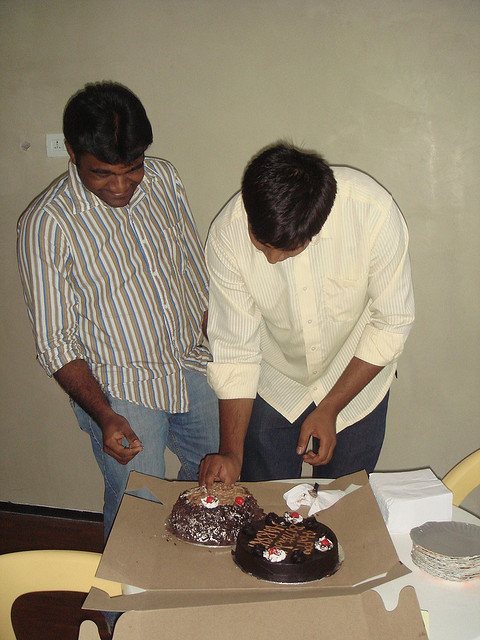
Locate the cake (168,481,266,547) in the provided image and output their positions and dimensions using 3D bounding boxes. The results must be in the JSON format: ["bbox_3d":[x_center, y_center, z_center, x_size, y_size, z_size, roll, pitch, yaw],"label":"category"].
[{"bbox_3d":[-0.069,0.476,1.777,0.236,0.077,0.214,12,59,46],"label":"cake"}]

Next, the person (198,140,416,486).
[{"bbox_3d":[0.180,0.031,1.880,0.634,1.026,0.492,-4,12,13],"label":"person"}]

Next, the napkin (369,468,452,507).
[{"bbox_3d":[0.441,0.431,1.672,0.142,0.032,0.128,-4,9,-11],"label":"napkin"}]

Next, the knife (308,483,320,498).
[{"bbox_3d":[0.199,0.454,1.726,0.025,0.025,0.032,34,65,-14],"label":"knife"}]
